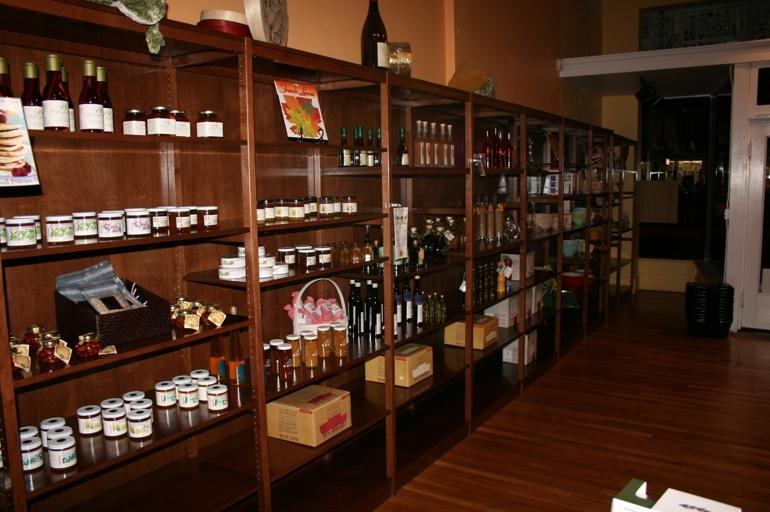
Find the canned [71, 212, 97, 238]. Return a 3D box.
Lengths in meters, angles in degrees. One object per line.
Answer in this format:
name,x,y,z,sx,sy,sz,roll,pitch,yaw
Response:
canned,-1.406,-0.150,2.833,0.111,0.122,0.113,1,1,34

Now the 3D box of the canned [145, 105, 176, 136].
canned,-1.110,-0.662,2.992,0.145,0.171,0.129,2,4,39

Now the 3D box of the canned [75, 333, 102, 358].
canned,-1.384,0.408,2.815,0.111,0.100,0.073,-6,14,-29

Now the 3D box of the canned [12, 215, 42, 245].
canned,-1.632,-0.121,2.715,0.129,0.144,0.131,3,3,40

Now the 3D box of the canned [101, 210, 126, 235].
canned,-1.287,-0.160,2.864,0.109,0.118,0.109,2,3,14

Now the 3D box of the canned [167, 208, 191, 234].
canned,-1.031,-0.185,3.047,0.111,0.117,0.111,0,2,-1

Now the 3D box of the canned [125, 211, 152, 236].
canned,-1.186,-0.160,2.969,0.120,0.127,0.119,0,2,5

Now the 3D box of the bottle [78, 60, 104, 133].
bottle,-1.380,-0.748,2.827,0.107,0.327,0.285,-5,13,-26

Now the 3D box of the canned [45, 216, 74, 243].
canned,-1.478,-0.121,2.749,0.120,0.132,0.121,0,-1,18

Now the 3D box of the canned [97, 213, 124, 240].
canned,-1.288,-0.142,2.863,0.118,0.125,0.118,1,3,6

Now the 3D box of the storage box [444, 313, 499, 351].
storage box,0.728,0.644,5.180,0.302,0.186,0.422,2,4,30

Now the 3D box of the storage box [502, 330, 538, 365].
storage box,1.363,0.873,5.966,0.247,0.314,0.456,17,-3,-5

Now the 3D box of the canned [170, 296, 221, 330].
canned,-1.004,0.281,3.171,0.212,0.070,0.165,7,9,35

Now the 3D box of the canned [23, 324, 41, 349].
canned,-1.653,0.372,2.832,0.074,0.088,0.128,-6,14,-30

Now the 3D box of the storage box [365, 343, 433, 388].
storage box,0.130,0.795,4.545,0.331,0.202,0.457,3,5,31

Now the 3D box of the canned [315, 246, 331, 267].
canned,-0.371,0.000,3.639,0.110,0.115,0.110,0,1,15

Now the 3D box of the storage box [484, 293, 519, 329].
storage box,1.116,0.480,5.685,0.254,0.324,0.477,3,7,33

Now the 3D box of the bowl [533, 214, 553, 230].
bowl,1.636,-0.351,6.247,0.170,0.140,0.177,-1,1,0

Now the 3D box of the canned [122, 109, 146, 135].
canned,-1.219,-0.649,2.939,0.106,0.116,0.227,-4,13,-22

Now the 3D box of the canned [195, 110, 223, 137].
canned,-0.914,-0.683,3.139,0.143,0.166,0.125,3,6,35

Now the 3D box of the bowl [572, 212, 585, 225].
bowl,2.245,-0.446,7.023,0.140,0.117,0.148,0,0,0

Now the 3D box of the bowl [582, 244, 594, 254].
bowl,2.350,-0.086,6.960,0.189,0.132,0.162,0,3,15

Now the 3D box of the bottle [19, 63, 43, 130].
bottle,-1.615,-0.731,2.754,0.082,0.296,0.278,-6,14,-30

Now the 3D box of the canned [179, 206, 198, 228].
canned,-1.000,-0.202,3.081,0.098,0.104,0.096,-1,4,-14

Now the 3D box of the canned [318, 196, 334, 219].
canned,-0.361,-0.304,3.755,0.110,0.121,0.109,-1,3,-11

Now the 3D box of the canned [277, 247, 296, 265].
canned,-0.583,-0.006,3.645,0.099,0.107,0.099,3,3,21

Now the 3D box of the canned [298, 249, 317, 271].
canned,-0.462,0.019,3.598,0.118,0.125,0.116,-3,4,-39

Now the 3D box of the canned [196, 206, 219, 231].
canned,-0.931,-0.203,3.182,0.109,0.116,0.107,2,-1,-37

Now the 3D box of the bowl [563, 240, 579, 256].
bowl,2.167,-0.091,7.049,0.181,0.148,0.166,-1,2,0

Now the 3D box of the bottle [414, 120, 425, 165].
bottle,0.264,-0.842,4.494,0.083,0.316,0.098,3,12,8

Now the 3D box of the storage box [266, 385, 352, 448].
storage box,-0.474,0.991,3.834,0.359,0.219,0.478,2,4,23

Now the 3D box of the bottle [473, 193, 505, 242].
bottle,0.934,-0.339,5.433,0.259,0.362,0.545,3,12,8

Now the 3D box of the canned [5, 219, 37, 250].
canned,-1.603,-0.101,2.662,0.121,0.132,0.123,1,2,44

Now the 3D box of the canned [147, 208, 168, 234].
canned,-1.129,-0.179,3.022,0.109,0.117,0.108,-1,4,-8

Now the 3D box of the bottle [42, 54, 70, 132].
bottle,-1.511,-0.750,2.758,0.109,0.338,0.238,-5,13,-27

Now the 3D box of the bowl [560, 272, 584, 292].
bowl,2.260,0.306,7.287,0.243,0.160,0.242,0,-3,0

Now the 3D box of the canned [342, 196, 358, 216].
canned,-0.226,-0.320,3.837,0.105,0.112,0.104,0,3,-2

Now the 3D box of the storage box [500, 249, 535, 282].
storage box,1.259,0.082,5.696,0.287,0.280,0.196,-5,6,-35

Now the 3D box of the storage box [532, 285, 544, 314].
storage box,1.500,0.416,5.963,0.100,0.277,0.285,1,6,17
